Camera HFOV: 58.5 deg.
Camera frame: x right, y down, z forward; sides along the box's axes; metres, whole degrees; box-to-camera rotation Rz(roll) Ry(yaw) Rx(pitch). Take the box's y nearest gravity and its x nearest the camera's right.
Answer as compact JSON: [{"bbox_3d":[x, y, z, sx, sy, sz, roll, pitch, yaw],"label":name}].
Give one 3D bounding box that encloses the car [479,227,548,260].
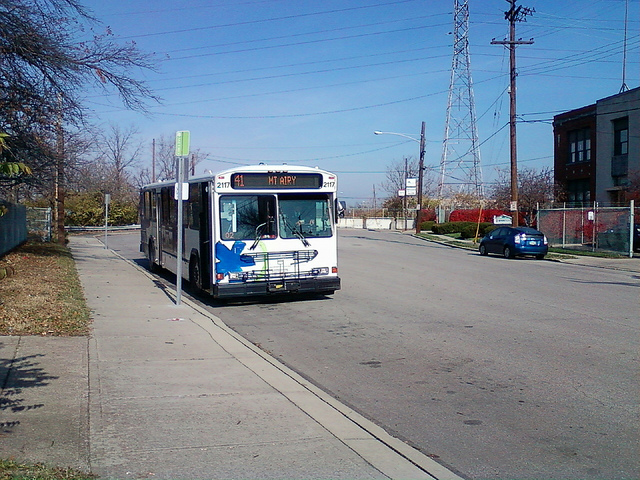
[{"bbox_3d":[9.681,0.149,28.971,1.948,1.611,3.584,-1,6,-29],"label":"car"}]
